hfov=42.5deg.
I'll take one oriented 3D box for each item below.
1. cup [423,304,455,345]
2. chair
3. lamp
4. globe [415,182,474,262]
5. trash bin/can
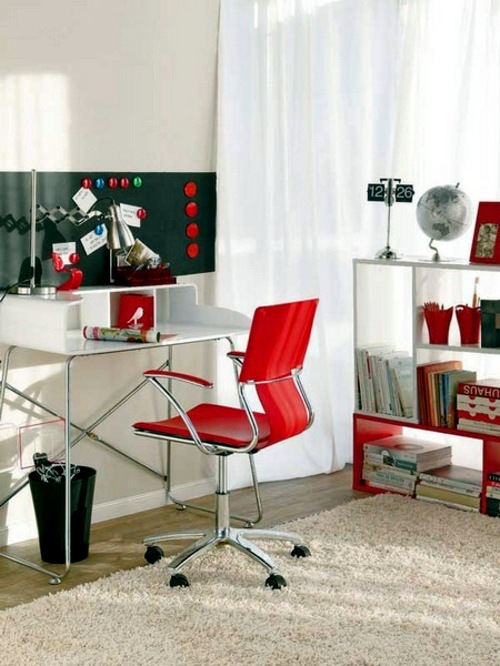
[{"bbox_3d":[0.869,-0.044,2.985,0.129,0.176,0.139,-1,0,0],"label":"cup"},{"bbox_3d":[0.012,0.363,2.188,0.676,0.923,0.628,9,16,40],"label":"chair"},{"bbox_3d":[-0.644,-0.445,2.503,0.137,0.228,0.411,9,14,32],"label":"lamp"},{"bbox_3d":[0.891,-0.508,2.989,0.260,0.344,0.235,6,16,15],"label":"globe"},{"bbox_3d":[-0.687,0.653,2.391,0.184,0.360,0.214,11,15,41],"label":"trash bin/can"}]
